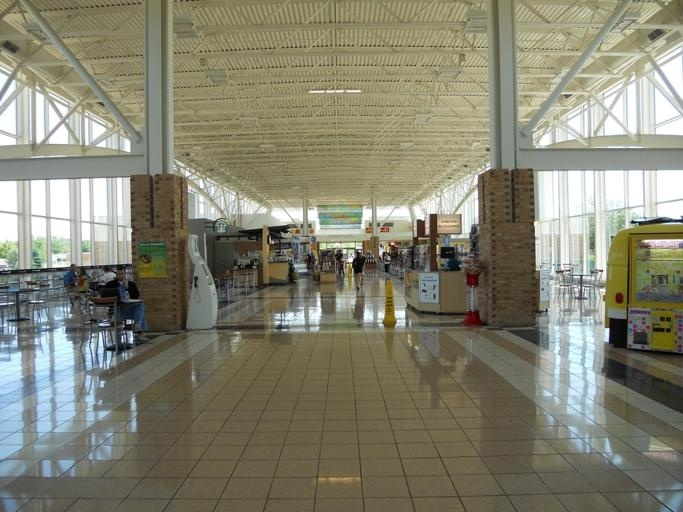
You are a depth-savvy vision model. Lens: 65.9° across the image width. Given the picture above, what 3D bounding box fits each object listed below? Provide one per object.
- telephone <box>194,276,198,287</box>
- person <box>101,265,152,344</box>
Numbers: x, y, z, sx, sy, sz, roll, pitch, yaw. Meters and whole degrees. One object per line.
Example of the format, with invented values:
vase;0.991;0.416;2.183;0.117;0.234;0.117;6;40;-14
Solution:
telephone;-3.137;0.573;11.428;0.113;0.261;0.045;3;14;17
person;-4.395;0.903;10.849;0.967;1.280;0.876;4;-2;-13
